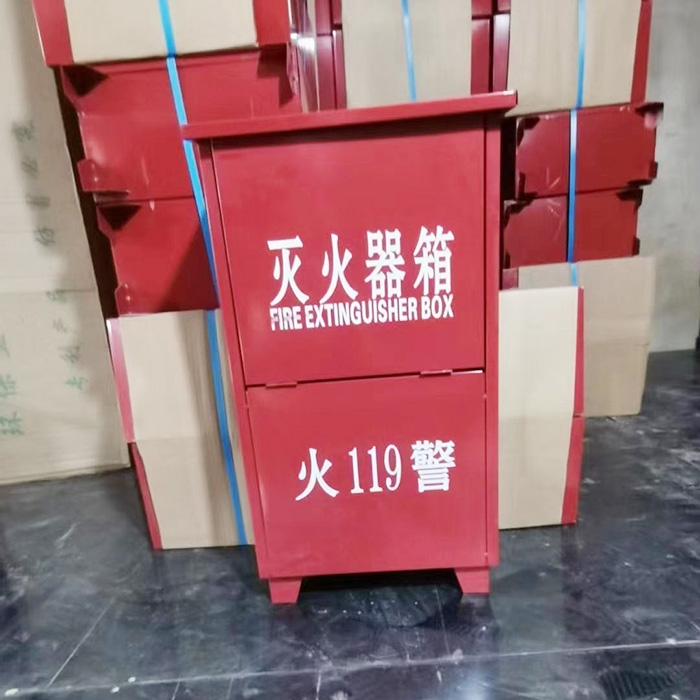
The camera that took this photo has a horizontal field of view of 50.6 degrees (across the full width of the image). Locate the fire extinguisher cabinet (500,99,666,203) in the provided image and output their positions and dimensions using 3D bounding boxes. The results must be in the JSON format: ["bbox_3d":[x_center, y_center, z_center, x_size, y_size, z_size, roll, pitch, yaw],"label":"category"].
[{"bbox_3d":[0.762,-0.676,2.485,0.388,0.407,0.222,-1,16,-7],"label":"fire extinguisher cabinet"}]

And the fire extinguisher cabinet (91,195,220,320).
[{"bbox_3d":[-0.560,-0.273,2.173,0.276,0.368,0.079,-4,17,3],"label":"fire extinguisher cabinet"}]

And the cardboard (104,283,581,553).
[{"bbox_3d":[-0.209,0.242,2.568,0.801,0.670,0.936,-1,1,0],"label":"cardboard"}]

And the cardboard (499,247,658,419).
[{"bbox_3d":[0.760,-0.011,2.908,0.399,0.507,0.266,1,-2,1],"label":"cardboard"}]

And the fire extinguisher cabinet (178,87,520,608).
[{"bbox_3d":[0.060,-0.151,2.577,0.821,1.838,1.024,0,13,6],"label":"fire extinguisher cabinet"}]
